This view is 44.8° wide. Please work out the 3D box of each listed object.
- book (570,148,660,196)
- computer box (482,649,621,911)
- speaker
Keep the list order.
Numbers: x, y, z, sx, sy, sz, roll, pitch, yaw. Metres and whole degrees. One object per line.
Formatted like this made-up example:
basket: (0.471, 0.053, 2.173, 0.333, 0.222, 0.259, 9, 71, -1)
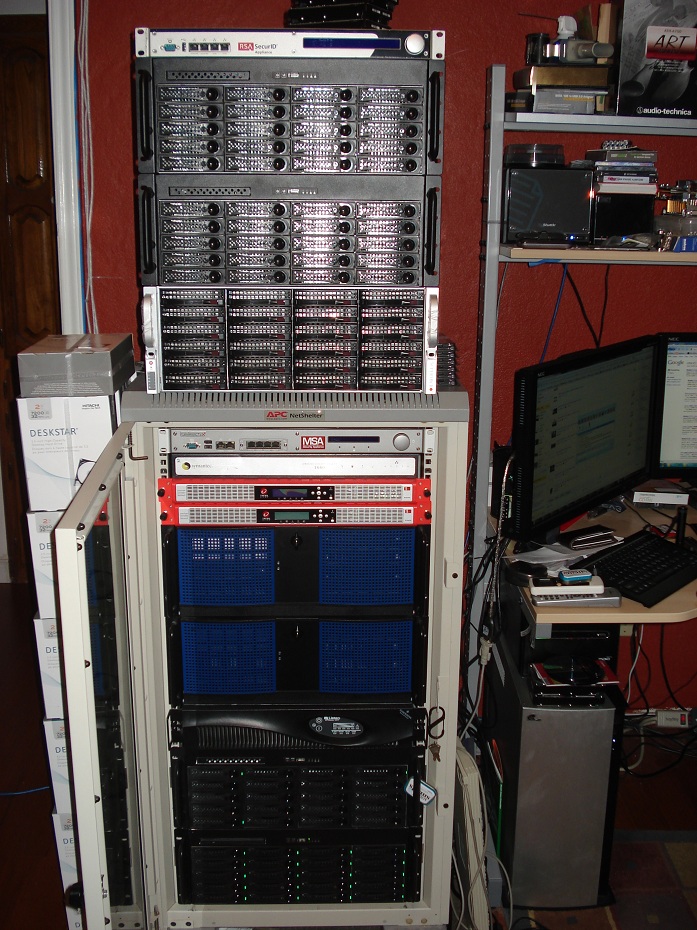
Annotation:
book: (0.694, -0.761, 2.192, 0.156, 0.079, 0.158, -1, 25, 1)
computer box: (0.529, 0.810, 2.241, 0.293, 0.671, 0.371, -1, 19, 3)
speaker: (0.497, -0.651, 2.117, 0.217, 0.178, 0.075, -2, 23, -2)
